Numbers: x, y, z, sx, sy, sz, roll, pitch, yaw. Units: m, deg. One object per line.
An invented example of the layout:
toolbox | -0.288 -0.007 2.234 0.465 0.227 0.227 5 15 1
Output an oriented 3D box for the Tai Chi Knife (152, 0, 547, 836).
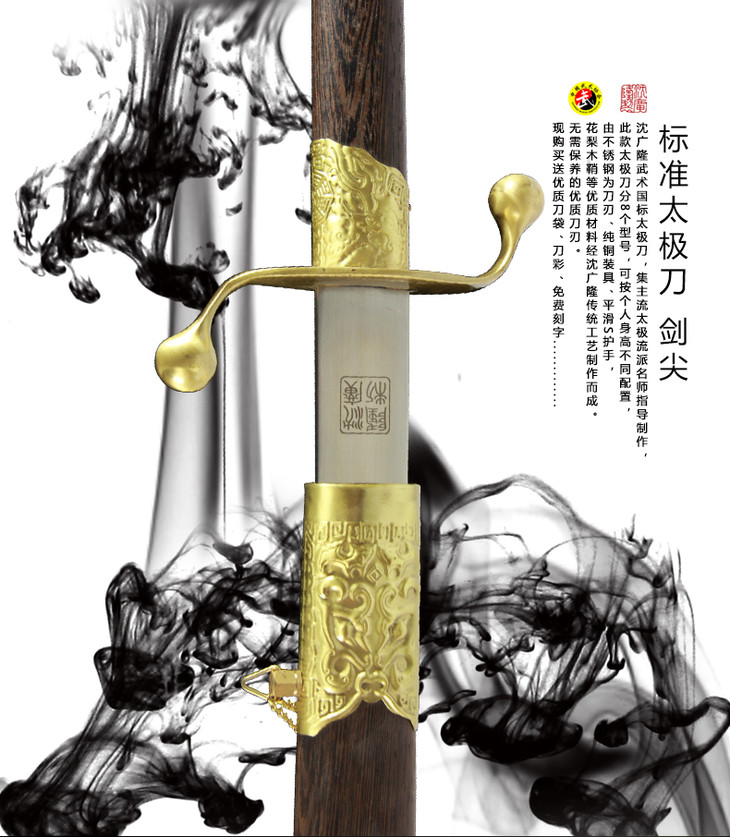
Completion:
Tai Chi Knife | -0.055 -0.022 1.521 0.493 1.113 0.549 14 -31 -22
